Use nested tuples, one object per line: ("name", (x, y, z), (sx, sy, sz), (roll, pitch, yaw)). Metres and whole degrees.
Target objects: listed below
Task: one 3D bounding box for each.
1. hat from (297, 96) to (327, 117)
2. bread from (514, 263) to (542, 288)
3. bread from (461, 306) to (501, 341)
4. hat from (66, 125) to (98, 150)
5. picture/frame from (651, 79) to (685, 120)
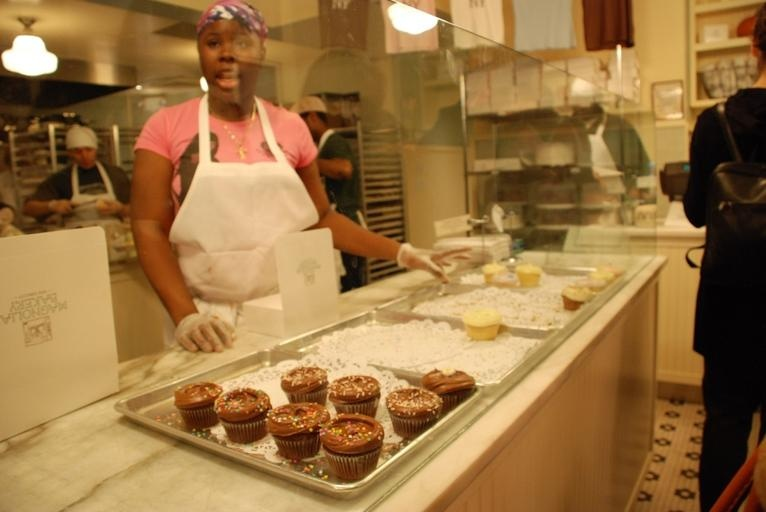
("hat", (-0.216, -0.458, 1.604), (0.065, 0.033, 0.046), (22, 32, 24))
("bread", (0.451, 0.061, 1.622), (0.080, 0.052, 0.076), (1, 12, 2))
("bread", (0.264, 0.186, 1.380), (0.123, 0.067, 0.114), (6, -6, -5))
("hat", (-1.153, -0.457, 2.030), (0.091, 0.085, 0.122), (0, 10, -15))
("picture/frame", (2.417, -1.308, 4.449), (0.265, 0.320, 0.016), (-5, 3, -2))
